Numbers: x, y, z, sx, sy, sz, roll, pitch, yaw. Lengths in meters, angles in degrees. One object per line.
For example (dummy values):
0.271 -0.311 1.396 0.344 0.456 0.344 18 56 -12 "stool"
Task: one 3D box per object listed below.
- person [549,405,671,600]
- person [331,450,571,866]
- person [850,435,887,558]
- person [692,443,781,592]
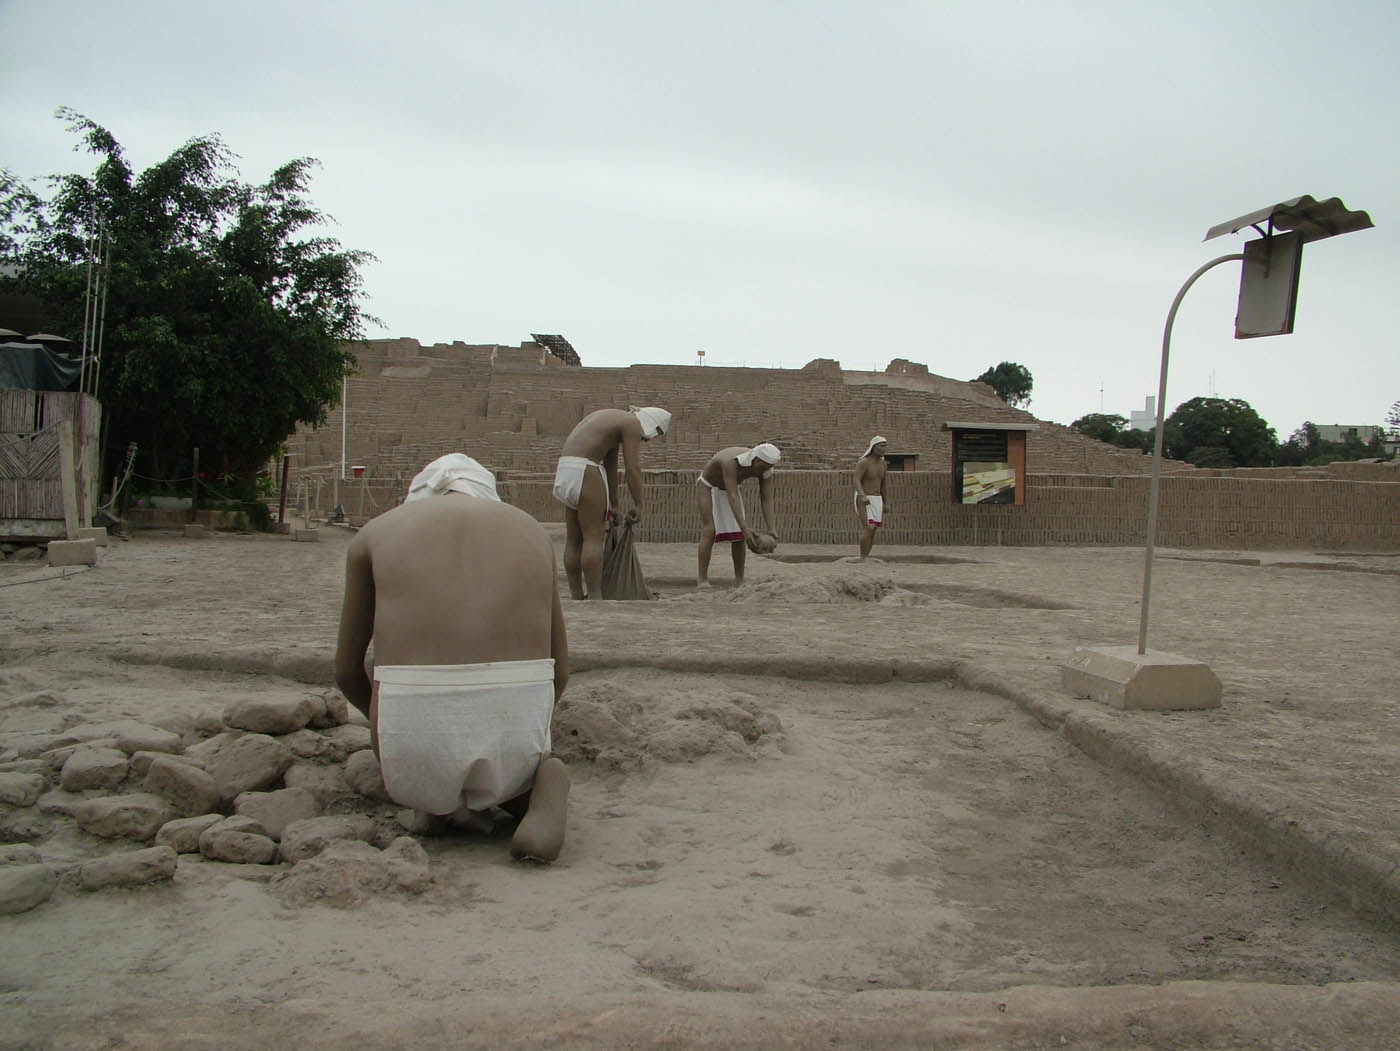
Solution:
-0.752 -0.201 10.252 0.860 1.590 1.544 2 12 -5 "person"
-0.940 0.438 4.979 0.900 1.648 1.006 -2 -12 8 "person"
2.064 -0.325 15.166 0.364 1.682 1.605 5 12 7 "person"
0.349 -0.100 11.616 0.722 1.394 1.173 4 12 2 "person"
